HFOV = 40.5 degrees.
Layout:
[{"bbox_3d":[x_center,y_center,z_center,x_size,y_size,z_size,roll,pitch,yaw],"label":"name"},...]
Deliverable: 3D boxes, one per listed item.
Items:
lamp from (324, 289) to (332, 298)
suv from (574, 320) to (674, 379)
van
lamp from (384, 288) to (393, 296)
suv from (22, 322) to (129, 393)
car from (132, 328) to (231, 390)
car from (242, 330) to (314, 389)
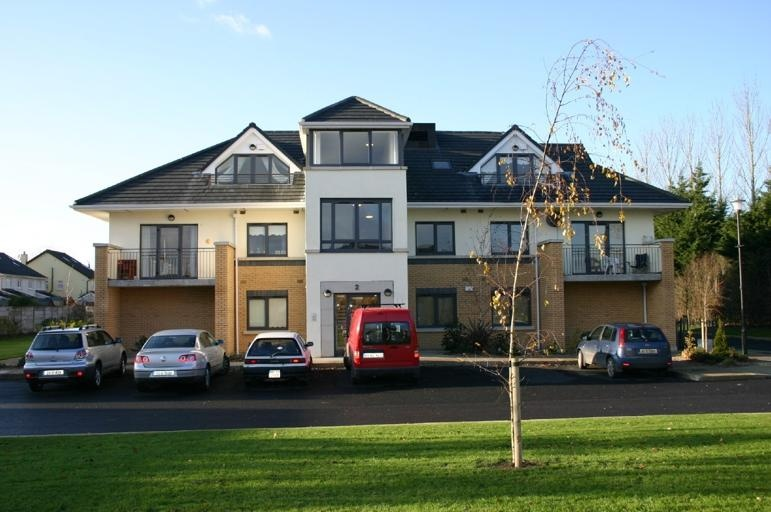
[{"bbox_3d":[-2.577,1.610,45.203,0.358,0.365,0.084,-2,0,-9],"label":"lamp"},{"bbox_3d":[9.109,3.607,40.866,2.701,2.268,5.033,-1,-1,-1],"label":"suv"},{"bbox_3d":[-0.241,3.287,40.795,2.844,2.777,5.457,-1,2,-5],"label":"van"},{"bbox_3d":[0.039,1.552,45.377,0.342,0.352,0.078,2,1,-5],"label":"lamp"},{"bbox_3d":[-11.648,3.758,39.039,2.039,2.032,5.043,0,-1,-5],"label":"suv"},{"bbox_3d":[-7.957,3.795,40.068,3.058,2.085,6.382,0,0,4],"label":"car"},{"bbox_3d":[-4.058,3.790,38.303,2.297,1.818,0.935,1,-6,-14],"label":"car"}]
